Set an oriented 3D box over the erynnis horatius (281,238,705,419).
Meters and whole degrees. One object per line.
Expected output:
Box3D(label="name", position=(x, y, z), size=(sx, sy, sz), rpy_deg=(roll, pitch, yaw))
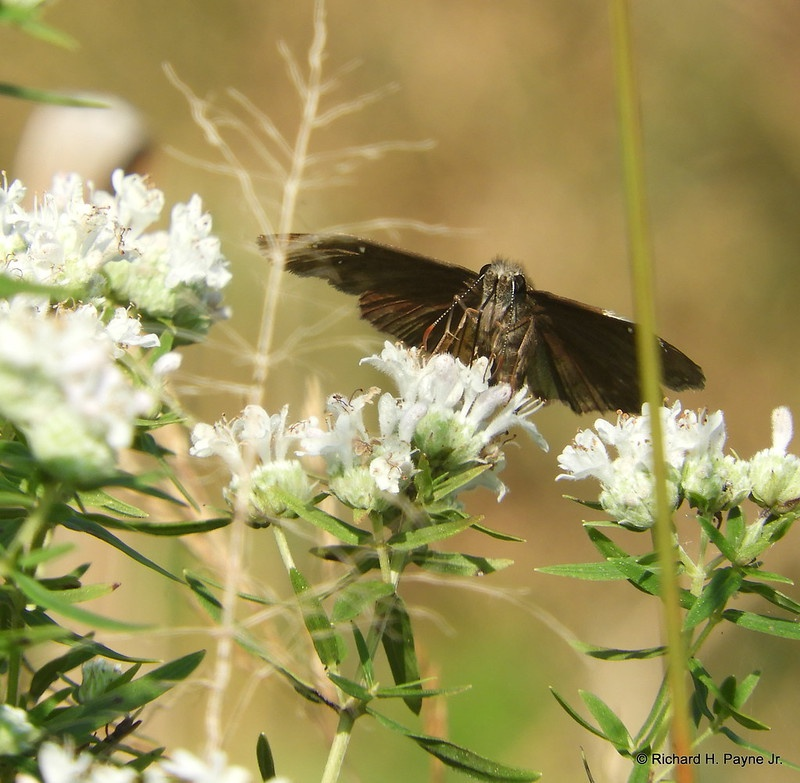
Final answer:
Box3D(label="erynnis horatius", position=(0.164, -0.134, 2.281), size=(0.669, 0.243, 0.259), rpy_deg=(13, -39, 2))
